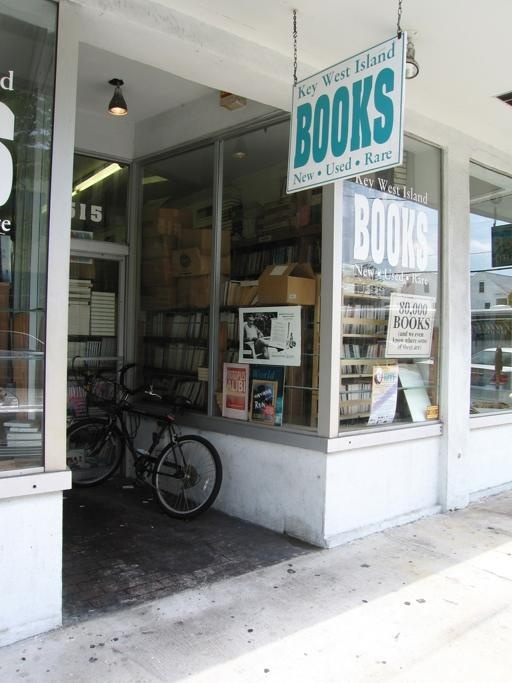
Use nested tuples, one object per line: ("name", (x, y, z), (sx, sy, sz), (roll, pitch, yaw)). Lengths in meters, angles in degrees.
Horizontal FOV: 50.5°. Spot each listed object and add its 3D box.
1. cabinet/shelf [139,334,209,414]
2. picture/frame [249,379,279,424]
("cabinet/shelf", (-0.696, 0.285, 4.725), (0.627, 0.593, 0.204), (8, 11, 43))
("picture/frame", (0.063, 0.433, 3.905), (0.018, 0.373, 0.321), (6, -5, -41))
